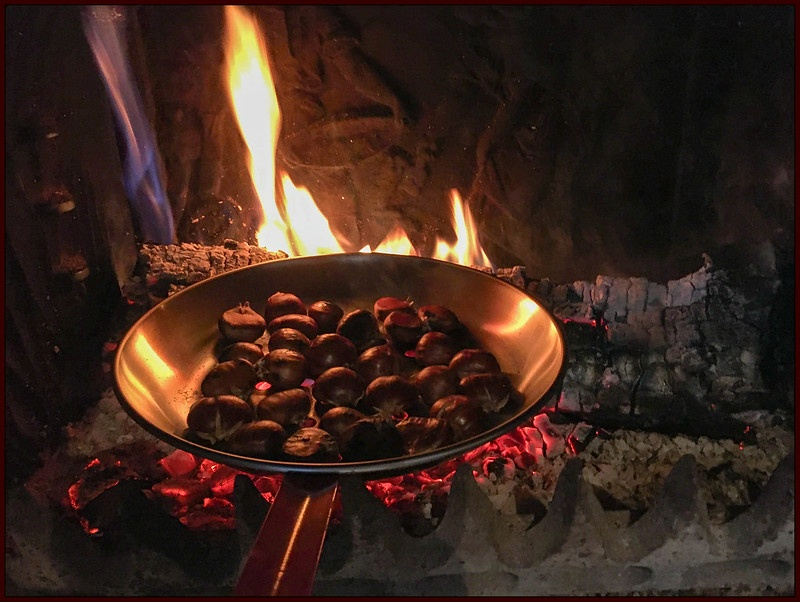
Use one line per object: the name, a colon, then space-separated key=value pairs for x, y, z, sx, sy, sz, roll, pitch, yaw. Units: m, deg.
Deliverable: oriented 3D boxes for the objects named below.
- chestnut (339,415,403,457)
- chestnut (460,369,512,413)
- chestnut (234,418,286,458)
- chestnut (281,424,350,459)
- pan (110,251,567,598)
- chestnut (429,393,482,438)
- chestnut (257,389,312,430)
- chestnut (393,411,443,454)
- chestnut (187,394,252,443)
chestnut: x=-0.074 y=0.384 z=2.156 sx=0.105 sy=0.057 sz=0.129 roll=-20 pitch=-24 yaw=10
chestnut: x=0.267 y=0.265 z=2.314 sx=0.121 sy=0.120 sz=0.039 roll=-17 pitch=-13 yaw=-11
chestnut: x=-0.383 y=0.384 z=2.175 sx=0.111 sy=0.063 sz=0.096 roll=11 pitch=24 yaw=42
chestnut: x=-0.231 y=0.373 z=2.151 sx=0.093 sy=0.030 sz=0.099 roll=15 pitch=15 yaw=25
pan: x=-0.173 y=0.237 z=2.358 sx=1.220 sy=0.726 sz=1.014 roll=-11 pitch=8 yaw=-33
chestnut: x=0.160 y=0.314 z=2.291 sx=0.148 sy=0.081 sz=0.141 roll=15 pitch=21 yaw=35
chestnut: x=-0.333 y=0.312 z=2.276 sx=0.139 sy=0.105 sz=0.069 roll=-9 pitch=50 yaw=-3
chestnut: x=0.058 y=0.348 z=2.119 sx=0.103 sy=0.092 sz=0.031 roll=-13 pitch=-31 yaw=-8
chestnut: x=-0.522 y=0.331 z=2.194 sx=0.144 sy=0.085 sz=0.140 roll=4 pitch=44 yaw=-1
